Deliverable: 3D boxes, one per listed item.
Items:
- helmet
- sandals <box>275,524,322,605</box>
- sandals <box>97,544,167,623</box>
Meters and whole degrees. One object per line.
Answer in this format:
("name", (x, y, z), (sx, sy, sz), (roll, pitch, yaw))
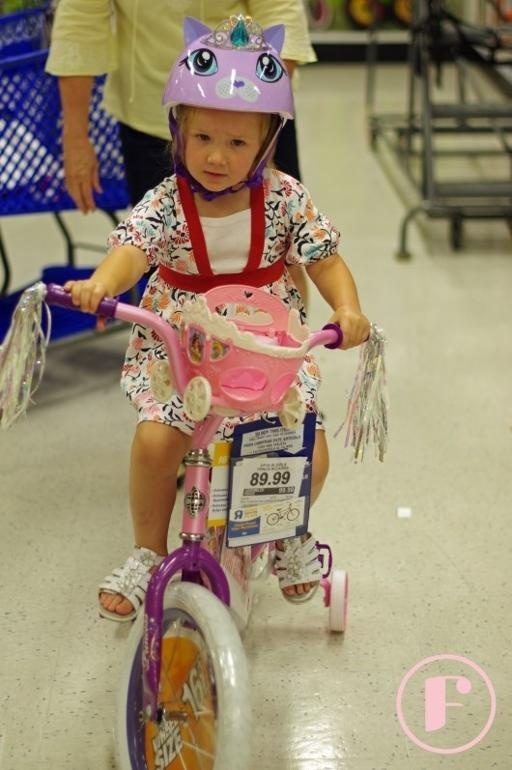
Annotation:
("helmet", (-0.034, -0.418, 0.974), (0.169, 0.111, 0.203), (-1, 20, -16))
("sandals", (0.073, 0.300, 1.227), (0.064, 0.128, 0.055), (-6, -1, 14))
("sandals", (-0.174, 0.299, 1.166), (0.075, 0.075, 0.186), (9, 4, 8))
